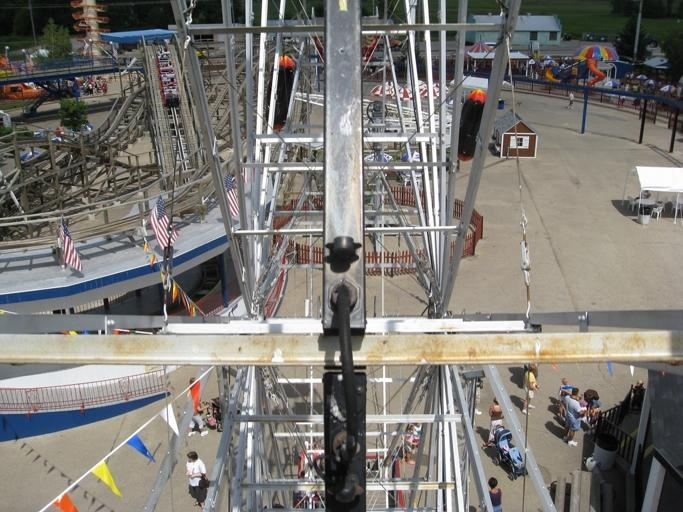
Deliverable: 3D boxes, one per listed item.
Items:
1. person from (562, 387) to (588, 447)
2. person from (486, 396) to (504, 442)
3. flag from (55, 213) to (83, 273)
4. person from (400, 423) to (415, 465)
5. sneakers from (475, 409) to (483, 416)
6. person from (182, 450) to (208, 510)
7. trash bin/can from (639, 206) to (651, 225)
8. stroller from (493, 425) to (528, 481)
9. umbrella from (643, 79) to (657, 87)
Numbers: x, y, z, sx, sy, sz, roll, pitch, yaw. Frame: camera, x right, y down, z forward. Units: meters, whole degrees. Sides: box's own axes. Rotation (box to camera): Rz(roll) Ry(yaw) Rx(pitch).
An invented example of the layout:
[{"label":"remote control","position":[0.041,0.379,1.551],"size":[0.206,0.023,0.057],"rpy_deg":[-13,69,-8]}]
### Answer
[{"label":"person","position":[7.005,4.902,23.987],"size":[0.705,1.348,1.065],"rpy_deg":[8,24,18]},{"label":"person","position":[4.601,4.967,23.752],"size":[0.396,1.652,0.410],"rpy_deg":[-1,21,0]},{"label":"flag","position":[-8.726,-0.429,25.444],"size":[0.675,1.959,1.706],"rpy_deg":[-8,24,-20]},{"label":"person","position":[1.984,5.552,23.534],"size":[0.353,1.575,1.105],"rpy_deg":[5,23,11]},{"label":"sneakers","position":[4.324,4.945,25.131],"size":[0.196,0.163,0.298],"rpy_deg":[4,24,8]},{"label":"person","position":[-3.997,6.241,22.171],"size":[0.462,1.349,0.936],"rpy_deg":[-9,24,-23]},{"label":"trash bin/can","position":[14.488,-1.885,38.087],"size":[0.490,0.985,0.547],"rpy_deg":[5,24,18]},{"label":"stroller","position":[4.848,5.836,22.916],"size":[0.593,1.059,1.547],"rpy_deg":[-3,24,-8]},{"label":"umbrella","position":[25.405,-14.100,65.115],"size":[0.950,0.434,1.004],"rpy_deg":[-11,20,-23]}]
